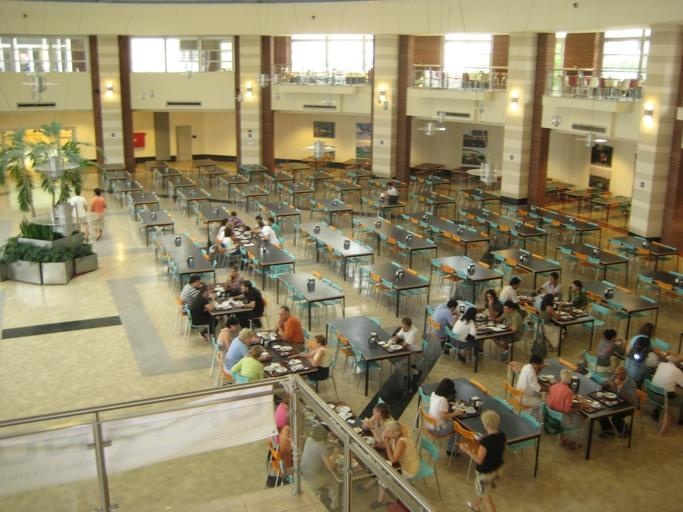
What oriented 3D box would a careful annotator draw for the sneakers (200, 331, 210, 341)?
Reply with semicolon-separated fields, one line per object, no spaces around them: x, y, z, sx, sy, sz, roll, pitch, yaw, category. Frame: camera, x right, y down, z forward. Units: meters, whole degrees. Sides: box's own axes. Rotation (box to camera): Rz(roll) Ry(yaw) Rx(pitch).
-3.167;1.865;12.193;0.089;0.265;0.112;-47;-6;30;sneakers

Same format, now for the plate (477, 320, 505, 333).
3.163;1.516;11.099;0.299;0.064;0.261;-5;14;-24;plate

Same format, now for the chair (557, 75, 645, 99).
9.197;-6.040;18.888;0.778;1.064;2.925;-14;17;-38;chair

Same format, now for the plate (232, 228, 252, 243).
-3.163;-0.671;16.843;0.527;0.174;0.760;-23;42;-32;plate

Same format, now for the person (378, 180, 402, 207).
1.960;-2.544;21.445;0.651;0.737;1.818;2;18;1;person
